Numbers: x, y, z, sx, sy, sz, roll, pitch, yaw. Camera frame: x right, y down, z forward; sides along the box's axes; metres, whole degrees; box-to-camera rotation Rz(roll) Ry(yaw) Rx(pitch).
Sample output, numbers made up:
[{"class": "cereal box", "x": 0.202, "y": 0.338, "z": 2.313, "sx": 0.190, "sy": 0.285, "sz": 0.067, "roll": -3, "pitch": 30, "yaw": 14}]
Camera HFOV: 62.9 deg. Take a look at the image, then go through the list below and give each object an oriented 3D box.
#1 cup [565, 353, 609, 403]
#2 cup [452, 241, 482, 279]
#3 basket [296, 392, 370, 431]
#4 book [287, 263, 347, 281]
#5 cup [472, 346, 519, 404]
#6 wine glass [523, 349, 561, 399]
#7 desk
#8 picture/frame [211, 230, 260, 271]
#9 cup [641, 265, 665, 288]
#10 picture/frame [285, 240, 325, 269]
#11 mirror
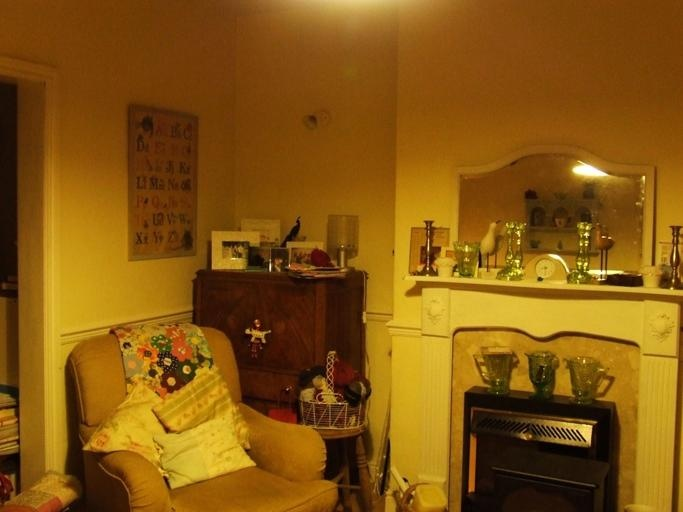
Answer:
[{"class": "cup", "x": 1.360, "y": 0.681, "z": 3.103, "sx": 0.204, "sy": 0.249, "sz": 0.156, "roll": 2, "pitch": 2, "yaw": 27}, {"class": "cup", "x": 0.738, "y": 0.025, "z": 3.310, "sx": 0.173, "sy": 0.200, "sz": 0.170, "roll": 5, "pitch": -5, "yaw": 0}, {"class": "basket", "x": -0.066, "y": 0.937, "z": 3.475, "sx": 0.427, "sy": 0.170, "sz": 0.448, "roll": 1, "pitch": -3, "yaw": 4}, {"class": "book", "x": -0.151, "y": 0.101, "z": 3.650, "sx": 0.392, "sy": 0.094, "sz": 0.189, "roll": 1, "pitch": 1, "yaw": 2}, {"class": "cup", "x": 0.896, "y": 0.658, "z": 3.251, "sx": 0.249, "sy": 0.272, "sz": 0.166, "roll": 1, "pitch": 2, "yaw": 15}, {"class": "wine glass", "x": 1.145, "y": 0.669, "z": 3.189, "sx": 0.177, "sy": 0.258, "sz": 0.138, "roll": 2, "pitch": 2, "yaw": 22}, {"class": "desk", "x": -0.409, "y": 0.447, "z": 4.062, "sx": 1.321, "sy": 1.179, "sz": 0.774, "roll": 1, "pitch": 0, "yaw": 23}, {"class": "picture/frame", "x": -0.749, "y": -0.032, "z": 3.914, "sx": 0.260, "sy": 0.232, "sz": 0.019, "roll": 1, "pitch": -6, "yaw": -19}, {"class": "cup", "x": 1.649, "y": 0.108, "z": 2.991, "sx": 0.105, "sy": 0.125, "sz": 0.113, "roll": 5, "pitch": -5, "yaw": 0}, {"class": "picture/frame", "x": -0.257, "y": -0.006, "z": 3.825, "sx": 0.164, "sy": 0.206, "sz": 0.020, "roll": -5, "pitch": -16, "yaw": 0}, {"class": "mirror", "x": 1.241, "y": -0.251, "z": 3.169, "sx": 0.730, "sy": 0.568, "sz": 0.039, "roll": 1, "pitch": 0, "yaw": 20}]
